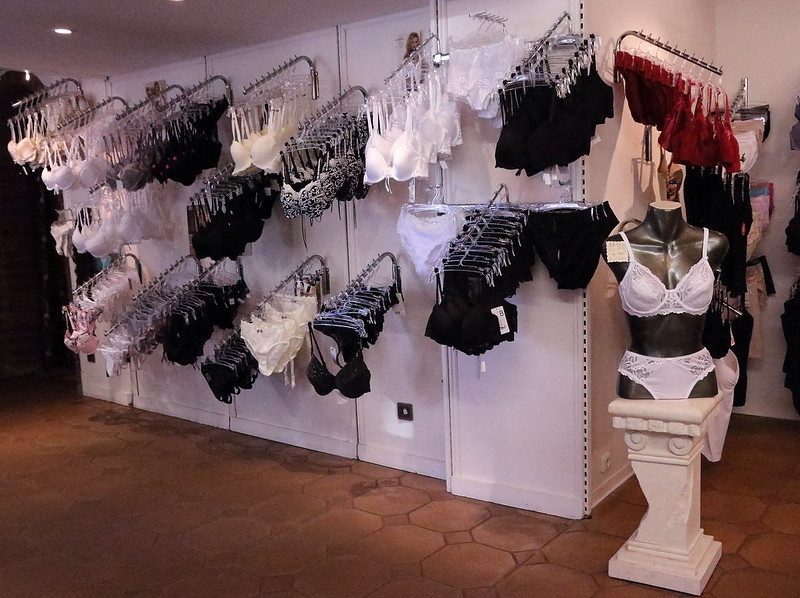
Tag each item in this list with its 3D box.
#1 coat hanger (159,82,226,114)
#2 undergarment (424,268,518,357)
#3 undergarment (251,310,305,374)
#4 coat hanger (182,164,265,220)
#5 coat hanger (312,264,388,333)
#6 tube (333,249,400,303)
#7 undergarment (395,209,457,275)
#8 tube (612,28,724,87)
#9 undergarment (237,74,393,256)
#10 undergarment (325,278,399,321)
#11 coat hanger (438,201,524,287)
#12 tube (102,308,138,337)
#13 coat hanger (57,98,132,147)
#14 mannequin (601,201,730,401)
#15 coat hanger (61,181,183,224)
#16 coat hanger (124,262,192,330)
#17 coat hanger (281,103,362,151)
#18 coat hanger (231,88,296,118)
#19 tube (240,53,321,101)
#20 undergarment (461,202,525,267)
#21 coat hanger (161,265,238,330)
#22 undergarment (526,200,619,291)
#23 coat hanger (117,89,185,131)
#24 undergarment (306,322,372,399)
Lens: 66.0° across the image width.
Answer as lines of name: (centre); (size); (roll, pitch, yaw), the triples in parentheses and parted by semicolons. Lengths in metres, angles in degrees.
coat hanger: (-1.873, -1.826, 5.582); (0.350, 0.120, 0.301); (-2, 39, 29)
undergarment: (0.456, 0.090, 3.942); (0.467, 0.586, 0.253); (-1, 8, 30)
undergarment: (-0.990, 0.340, 5.097); (0.516, 0.570, 0.416); (1, 20, -4)
coat hanger: (-1.514, -0.942, 5.346); (0.521, 0.171, 0.572); (-6, 45, 42)
coat hanger: (-0.339, 0.044, 4.518); (0.611, 0.468, 0.394); (-5, 10, -12)
tube: (-0.242, -0.185, 4.832); (0.092, 0.302, 0.572); (15, 38, 30)
undergarment: (0.197, -0.403, 4.267); (0.429, 0.480, 0.076); (6, 5, 41)
tube: (2.008, -1.784, 4.461); (0.526, 0.315, 1.502); (4, 13, 35)
undergarment: (-0.646, -1.014, 4.671); (1.039, 0.758, 0.402); (-43, 19, -19)
undergarment: (-0.306, 0.014, 4.536); (0.343, 0.131, 0.295); (-1, 29, 32)
coat hanger: (0.550, -0.371, 3.985); (0.400, 0.628, 0.179); (6, -17, 38)
tube: (-2.753, 0.227, 6.051); (0.116, 0.168, 0.465); (-3, 26, 29)
coat hanger: (-3.044, -1.735, 6.083); (0.612, 0.482, 0.210); (-30, -26, 10)
mannequin: (1.528, 0.016, 3.508); (0.616, 1.113, 0.339); (-1, 7, 21)
coat hanger: (-2.678, -1.059, 6.103); (1.032, 0.303, 0.639); (-4, 13, -18)
coat hanger: (-2.320, -0.083, 5.950); (0.823, 0.242, 0.507); (-52, 10, -26)
coat hanger: (-0.539, -1.399, 4.677); (0.472, 0.173, 0.382); (-4, 34, 34)
coat hanger: (-1.099, -1.616, 4.995); (0.300, 0.136, 0.442); (23, 42, 34)
tube: (-0.937, -1.817, 5.148); (0.558, 0.425, 0.090); (-9, -1, 26)
undergarment: (0.566, -0.392, 3.982); (0.304, 0.484, 0.150); (9, -15, 27)
coat hanger: (-1.807, 0.005, 5.658); (0.760, 0.594, 0.346); (-8, 11, -25)
undergarment: (1.114, -0.410, 4.044); (0.620, 0.646, 0.419); (18, 48, 32)
coat hanger: (-2.322, -1.774, 5.770); (0.385, 0.189, 0.618); (4, 31, 31)
undergarment: (-0.480, 0.425, 4.591); (0.422, 0.639, 0.246); (0, 27, -3)
